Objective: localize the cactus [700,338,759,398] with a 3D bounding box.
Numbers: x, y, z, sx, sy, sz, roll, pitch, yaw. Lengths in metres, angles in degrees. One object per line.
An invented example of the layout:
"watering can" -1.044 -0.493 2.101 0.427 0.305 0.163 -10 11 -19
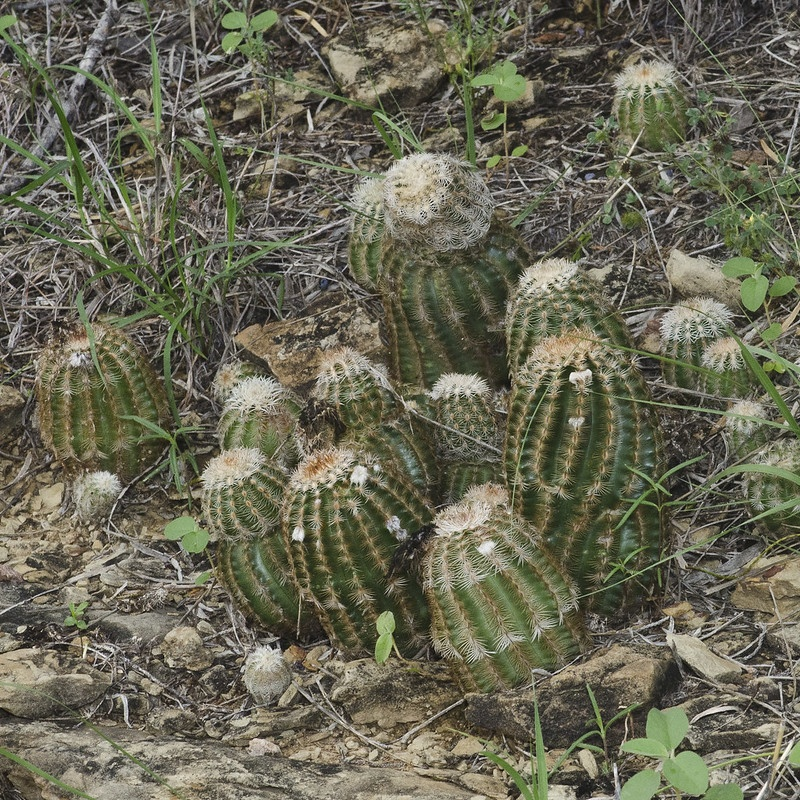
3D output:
"cactus" 1.248 -0.113 4.853 0.247 0.221 0.209 -9 87 2

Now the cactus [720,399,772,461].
"cactus" 1.284 0.111 4.736 0.188 0.174 0.193 -5 45 7

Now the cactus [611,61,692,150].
"cactus" 1.189 -1.308 5.841 0.240 0.254 0.212 -1 36 32

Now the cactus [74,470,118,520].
"cactus" -1.260 0.405 5.417 0.230 0.200 0.187 1 75 -7
